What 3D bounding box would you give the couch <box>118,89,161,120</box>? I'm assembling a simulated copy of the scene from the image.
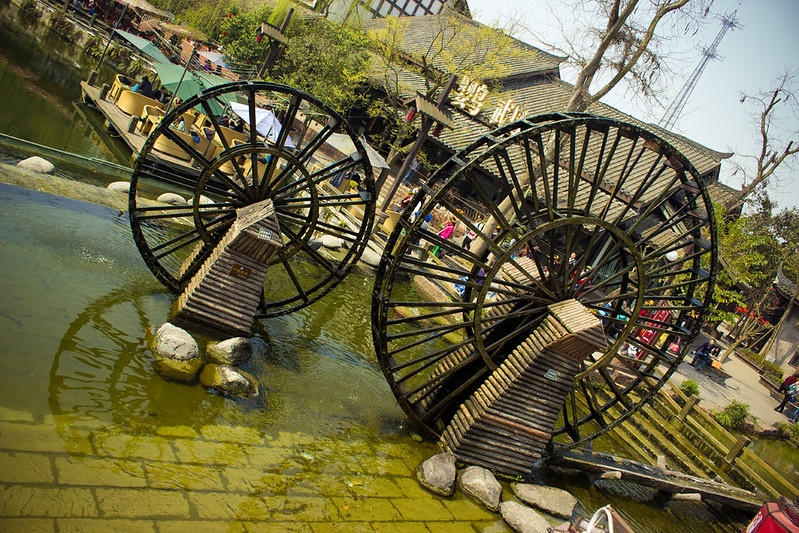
[{"bbox_3d":[-12.081,-7.271,26.604,1.443,0.873,1.519,3,27,-45],"label":"couch"}]
